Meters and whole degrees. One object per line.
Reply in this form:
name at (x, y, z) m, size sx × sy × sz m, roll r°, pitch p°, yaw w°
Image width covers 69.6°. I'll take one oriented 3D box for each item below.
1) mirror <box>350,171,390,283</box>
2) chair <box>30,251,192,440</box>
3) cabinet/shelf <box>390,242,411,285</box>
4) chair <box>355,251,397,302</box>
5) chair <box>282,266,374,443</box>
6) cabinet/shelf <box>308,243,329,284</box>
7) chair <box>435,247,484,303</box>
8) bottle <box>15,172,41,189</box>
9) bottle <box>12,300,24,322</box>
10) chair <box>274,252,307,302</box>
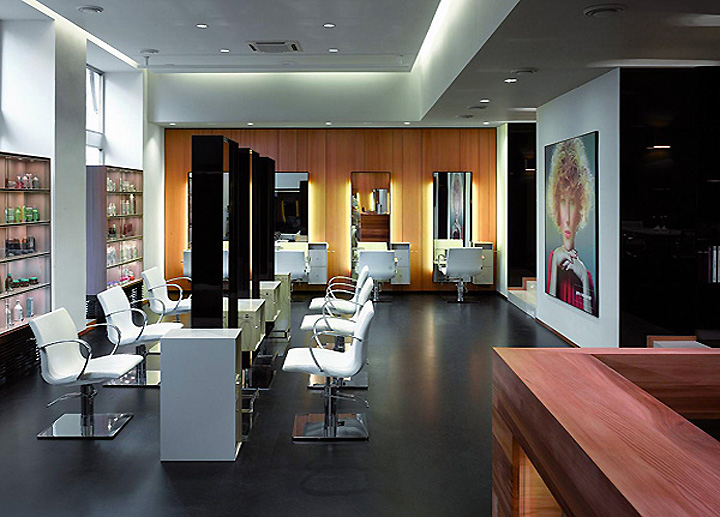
mirror at (0.261, -1.261, 13.392) m, size 0.943 × 2.588 × 0.258 m, roll -1°, pitch 48°, yaw 1°
chair at (-2.879, 0.922, 6.017) m, size 1.436 × 1.974 × 1.509 m, roll 2°, pitch 2°, yaw 2°
cabinet/shelf at (1.013, 0.063, 13.151) m, size 0.589 × 1.050 × 0.572 m, roll -8°, pitch 24°, yaw -15°
chair at (0.343, 0.317, 11.951) m, size 1.006 × 1.399 × 0.955 m, roll -1°, pitch 22°, yaw -2°
chair at (-0.307, 1.107, 6.142) m, size 1.181 × 2.123 × 1.360 m, roll 1°, pitch -1°, yaw -1°
cabinet/shelf at (-1.080, 0.076, 13.215) m, size 0.482 × 1.029 × 0.527 m, roll 1°, pitch 17°, yaw 1°
chair at (2.286, 0.330, 12.118) m, size 1.285 × 1.669 × 1.131 m, roll 0°, pitch 3°, yaw -3°
bottle at (-4.891, -1.129, 7.571) m, size 0.150 × 0.286 × 0.286 m, roll -2°, pitch -2°, yaw 28°
bottle at (-4.923, 0.771, 7.427) m, size 0.125 × 0.317 × 0.283 m, roll -8°, pitch 5°, yaw -32°
chair at (-1.522, 0.306, 11.894) m, size 0.817 × 1.129 × 0.896 m, roll 1°, pitch 1°, yaw -1°
